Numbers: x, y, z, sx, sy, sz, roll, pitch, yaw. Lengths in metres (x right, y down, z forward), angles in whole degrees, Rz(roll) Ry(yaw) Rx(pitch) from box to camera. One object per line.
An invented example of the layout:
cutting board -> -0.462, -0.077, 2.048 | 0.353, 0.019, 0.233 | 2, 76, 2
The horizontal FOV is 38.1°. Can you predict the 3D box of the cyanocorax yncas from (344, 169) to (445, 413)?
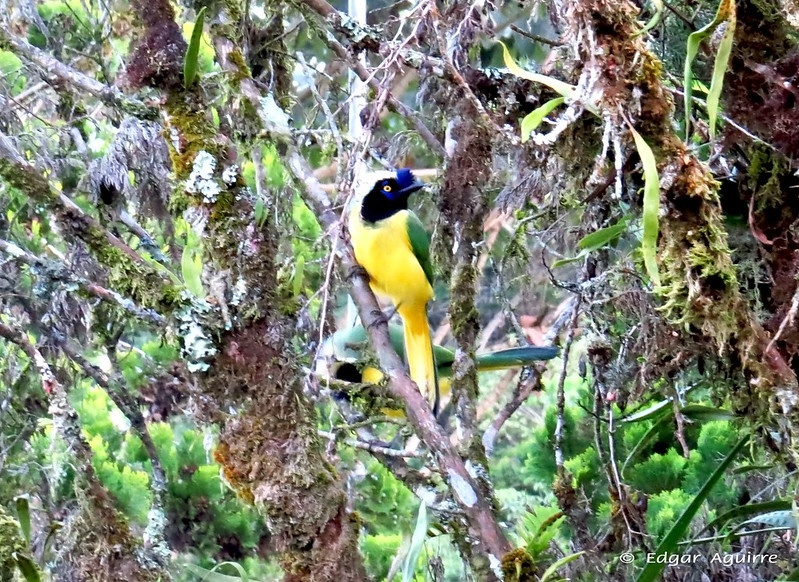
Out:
cyanocorax yncas -> 0.005, -0.106, 4.760 | 0.247, 1.185, 0.448 | -10, 11, -1
